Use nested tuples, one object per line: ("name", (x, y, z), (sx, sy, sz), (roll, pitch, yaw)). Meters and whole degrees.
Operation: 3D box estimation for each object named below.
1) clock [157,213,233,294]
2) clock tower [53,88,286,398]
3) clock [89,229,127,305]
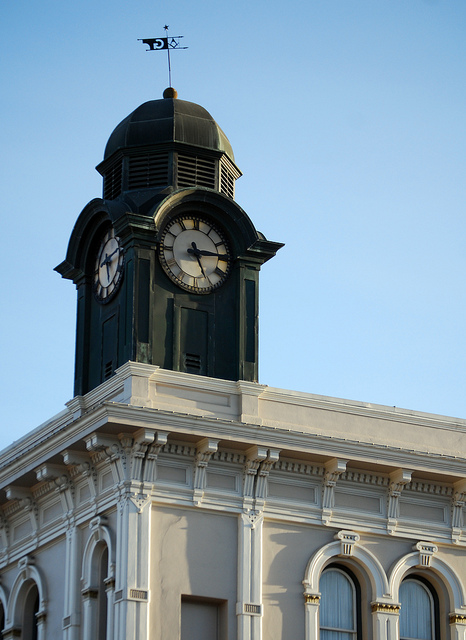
("clock", (-0.706, -1.272, 47.539), (1.416, 1.739, 0.127), (12, -32, -14))
("clock tower", (-1.177, -1.668, 48.156), (3.655, 6.589, 2.537), (0, -24, 0))
("clock", (-2.361, -1.091, 48.170), (0.116, 1.504, 1.329), (10, -18, -28))
